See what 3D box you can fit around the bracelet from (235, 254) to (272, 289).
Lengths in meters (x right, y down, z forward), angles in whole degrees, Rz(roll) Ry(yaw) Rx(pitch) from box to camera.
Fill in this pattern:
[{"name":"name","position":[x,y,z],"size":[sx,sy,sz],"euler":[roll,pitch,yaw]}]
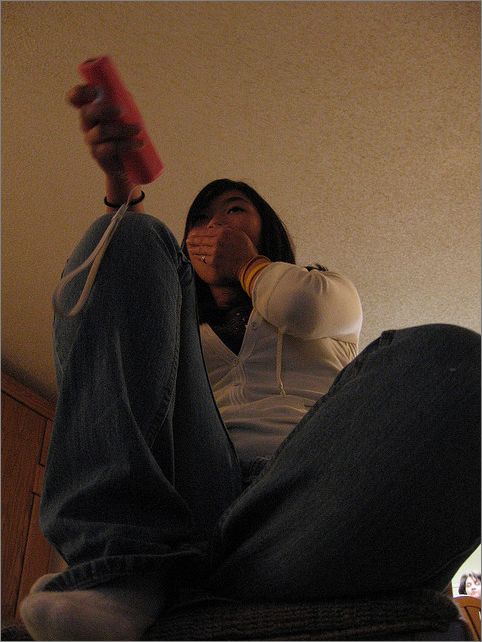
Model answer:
[{"name":"bracelet","position":[0.015,-0.072,1.012],"size":[0.046,0.050,0.026],"euler":[-6,-31,2]}]

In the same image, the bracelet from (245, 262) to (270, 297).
[{"name":"bracelet","position":[0.020,-0.056,1.026],"size":[0.045,0.049,0.031],"euler":[8,-21,-21]}]

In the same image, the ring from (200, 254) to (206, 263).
[{"name":"ring","position":[-0.061,-0.104,1.147],"size":[0.009,0.011,0.011],"euler":[-6,-4,-7]}]
